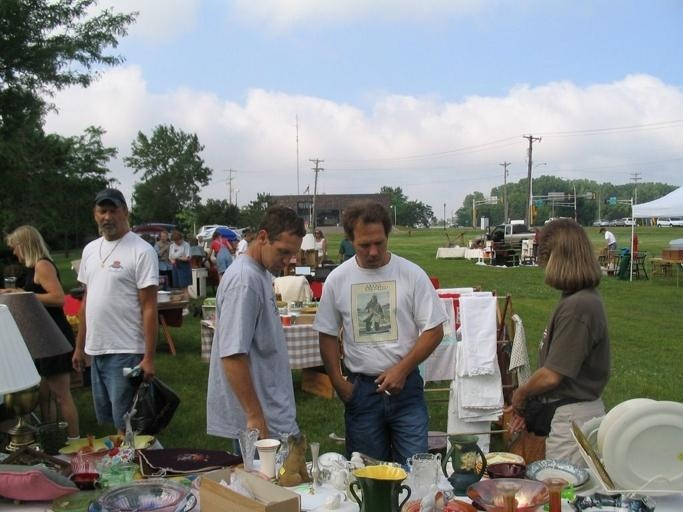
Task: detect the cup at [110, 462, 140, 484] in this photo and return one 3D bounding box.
[{"bbox_3d":[-1.233,1.228,3.909,0.129,0.092,0.058,-3,2,-18],"label":"cup"}]

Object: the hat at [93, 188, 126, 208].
[{"bbox_3d":[-1.795,-0.461,5.317,0.219,0.159,0.310,-3,2,-20],"label":"hat"}]

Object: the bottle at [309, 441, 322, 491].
[{"bbox_3d":[-0.150,1.189,3.940,0.049,0.232,0.221,-2,2,-4],"label":"bottle"}]

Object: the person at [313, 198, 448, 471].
[{"bbox_3d":[0.258,0.536,4.702,0.913,1.833,0.450,-2,2,8],"label":"person"}]

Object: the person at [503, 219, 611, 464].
[{"bbox_3d":[1.467,0.569,4.676,0.456,1.641,0.626,-3,2,-37],"label":"person"}]

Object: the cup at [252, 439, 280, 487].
[{"bbox_3d":[-0.404,1.159,3.862,0.169,0.235,0.181,-1,-1,0],"label":"cup"}]

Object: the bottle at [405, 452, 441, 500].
[{"bbox_3d":[0.464,1.185,3.737,0.177,0.242,0.158,-1,-1,-11],"label":"bottle"}]

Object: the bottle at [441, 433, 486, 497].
[{"bbox_3d":[0.697,1.179,3.874,0.235,0.321,0.192,-2,4,-13],"label":"bottle"}]

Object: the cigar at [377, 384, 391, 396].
[{"bbox_3d":[0.290,0.901,4.624,0.076,0.033,0.070,32,0,12],"label":"cigar"}]

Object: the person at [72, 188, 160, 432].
[{"bbox_3d":[-1.755,0.398,5.386,0.621,1.849,0.456,-2,2,-6],"label":"person"}]

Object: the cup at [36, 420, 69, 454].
[{"bbox_3d":[-1.823,1.106,4.323,0.168,0.184,0.158,2,6,0],"label":"cup"}]

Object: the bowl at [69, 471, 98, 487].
[{"bbox_3d":[-1.456,1.271,3.911,0.087,0.059,0.106,2,-9,-7],"label":"bowl"}]

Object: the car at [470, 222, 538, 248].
[{"bbox_3d":[7.890,-1.125,32.868,2.644,1.174,1.682,0,-2,-40],"label":"car"}]

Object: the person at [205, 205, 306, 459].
[{"bbox_3d":[-0.534,0.474,4.324,0.655,1.574,0.507,-2,2,-13],"label":"person"}]

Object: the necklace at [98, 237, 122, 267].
[{"bbox_3d":[-1.828,-0.039,5.432,0.140,0.246,0.058,4,-13,22],"label":"necklace"}]
